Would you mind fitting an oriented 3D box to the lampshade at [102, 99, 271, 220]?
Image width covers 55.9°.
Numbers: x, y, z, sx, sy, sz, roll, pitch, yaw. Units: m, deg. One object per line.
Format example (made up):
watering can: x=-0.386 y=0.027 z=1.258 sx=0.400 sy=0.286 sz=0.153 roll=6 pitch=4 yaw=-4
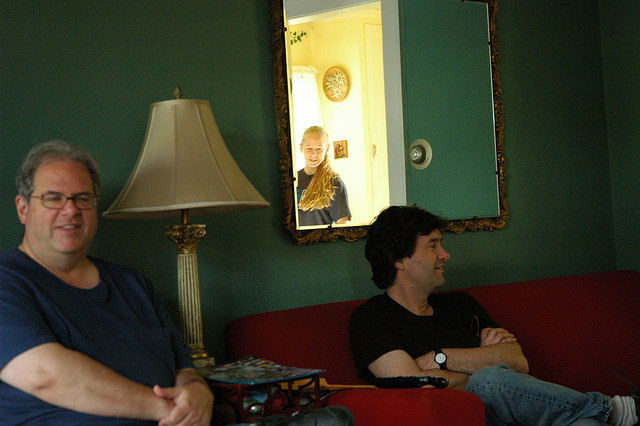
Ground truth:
lampshade: x=-0.638 y=-0.252 z=2.805 sx=0.785 sy=0.528 sz=0.777 roll=-6 pitch=-2 yaw=-11
